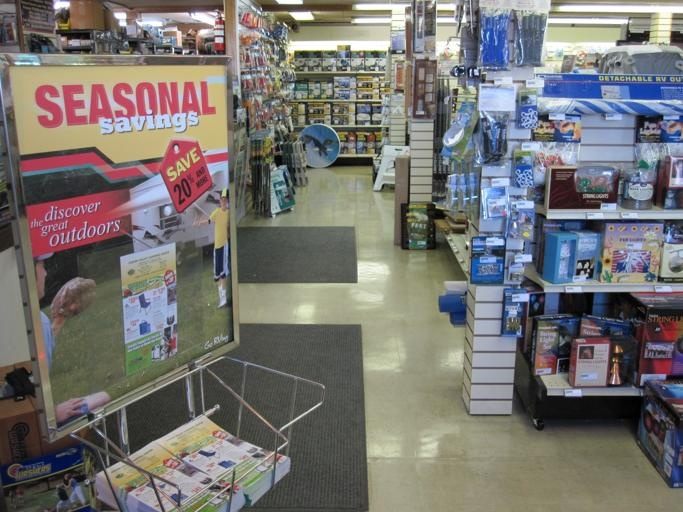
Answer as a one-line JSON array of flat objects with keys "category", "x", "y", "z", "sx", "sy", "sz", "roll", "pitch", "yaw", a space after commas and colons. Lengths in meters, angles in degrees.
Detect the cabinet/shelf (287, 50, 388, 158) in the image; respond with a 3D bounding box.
[{"category": "cabinet/shelf", "x": -0.108, "y": -3.884, "z": 12.901, "sx": 3.141, "sy": 3.149, "sz": 1.048, "roll": 1, "pitch": 3, "yaw": 0}]
